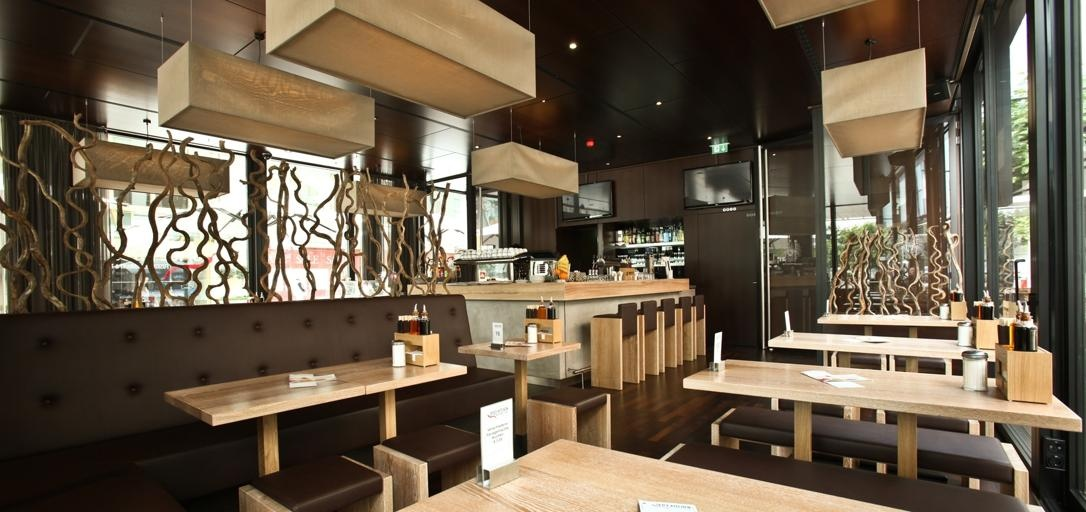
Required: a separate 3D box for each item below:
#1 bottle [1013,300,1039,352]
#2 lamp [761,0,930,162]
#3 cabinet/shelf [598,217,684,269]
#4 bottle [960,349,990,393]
[{"bbox_3d":[5.301,0.778,7.408,0.184,0.596,0.253,-7,-2,42],"label":"bottle"},{"bbox_3d":[4.090,-2.474,8.671,1.453,2.155,2.911,-6,-2,31],"label":"lamp"},{"bbox_3d":[2.214,-0.126,14.707,1.730,1.227,0.481,-1,-2,22],"label":"cabinet/shelf"},{"bbox_3d":[4.847,1.281,7.549,0.253,0.518,0.141,-6,-1,24],"label":"bottle"}]
